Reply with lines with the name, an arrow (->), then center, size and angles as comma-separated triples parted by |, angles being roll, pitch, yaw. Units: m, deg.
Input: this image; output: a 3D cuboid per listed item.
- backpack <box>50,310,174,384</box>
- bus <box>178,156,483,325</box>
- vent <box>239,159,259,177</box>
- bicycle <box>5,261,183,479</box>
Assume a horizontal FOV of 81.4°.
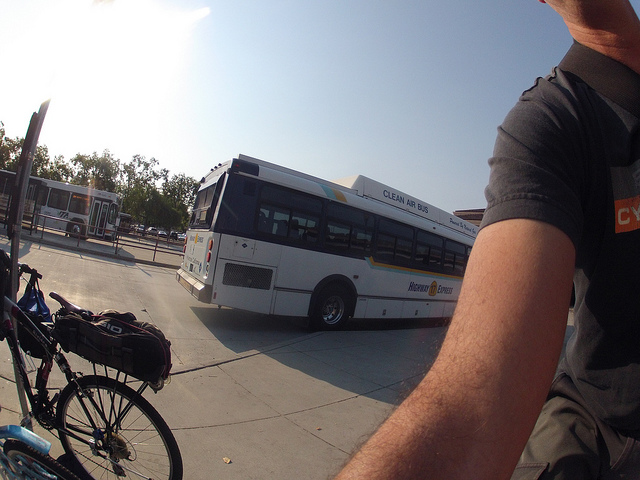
backpack -> -1.372, 0.685, 2.574 | 0.678, 0.335, 0.487 | 25, -9, 5
bus -> 2.207, 0.756, 11.922 | 11.792, 4.446, 3.520 | 12, 0, -29
vent -> -1.516, -1.542, 7.880 | 0.346, 0.178, 0.364 | 22, 1, 44
bicycle -> -1.699, 1.034, 2.728 | 1.616, 1.428, 0.657 | 8, 2, 27
